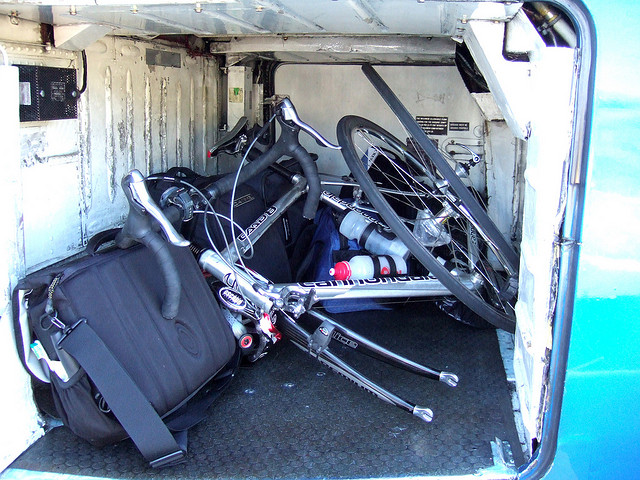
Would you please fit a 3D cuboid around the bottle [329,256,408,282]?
[{"bbox_3d":[0.306,0.170,2.909,0.500,0.186,0.178,-2,-15,-20],"label":"bottle"}]

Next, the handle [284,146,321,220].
[{"bbox_3d":[-0.084,-0.293,2.334,0.050,0.340,0.210,-13,20,-41],"label":"handle"}]

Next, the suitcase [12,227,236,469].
[{"bbox_3d":[-0.950,0.534,2.131,0.379,1.028,0.929,-27,0,44],"label":"suitcase"}]

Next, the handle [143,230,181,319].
[{"bbox_3d":[-0.701,0.179,2.072,0.119,0.470,0.216,-13,17,-28],"label":"handle"}]

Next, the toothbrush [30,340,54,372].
[{"bbox_3d":[-1.187,0.477,1.969,0.074,0.142,0.034,-27,15,36],"label":"toothbrush"}]
